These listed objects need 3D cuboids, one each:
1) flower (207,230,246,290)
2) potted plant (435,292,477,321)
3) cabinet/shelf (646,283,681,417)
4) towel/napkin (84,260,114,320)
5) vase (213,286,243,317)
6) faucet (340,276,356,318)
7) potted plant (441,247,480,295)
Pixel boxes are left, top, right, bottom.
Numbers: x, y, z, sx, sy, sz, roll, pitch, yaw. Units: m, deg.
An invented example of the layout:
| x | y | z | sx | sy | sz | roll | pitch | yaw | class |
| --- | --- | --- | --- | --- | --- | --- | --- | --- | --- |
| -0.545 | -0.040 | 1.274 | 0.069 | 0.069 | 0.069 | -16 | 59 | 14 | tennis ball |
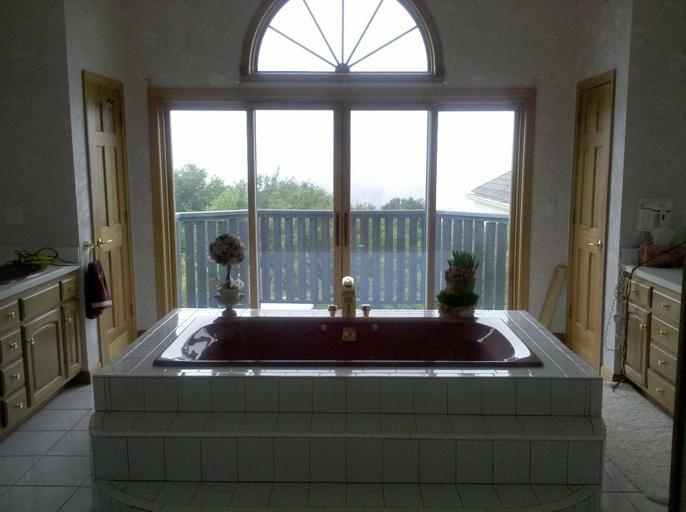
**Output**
| x | y | z | sx | sy | sz | roll | pitch | yaw | class |
| --- | --- | --- | --- | --- | --- | --- | --- | --- | --- |
| -0.753 | 0.033 | 3.726 | 0.239 | 0.327 | 0.219 | 2 | 11 | -35 | flower |
| 0.779 | 0.338 | 3.746 | 0.199 | 0.137 | 0.173 | 1 | 3 | 0 | potted plant |
| 2.171 | 0.624 | 3.757 | 0.099 | 0.810 | 0.319 | 1 | 9 | 6 | cabinet/shelf |
| -1.878 | 0.274 | 4.252 | 0.177 | 0.482 | 0.155 | 2 | 9 | 13 | towel/napkin |
| -0.767 | 0.297 | 3.806 | 0.216 | 0.228 | 0.177 | 0 | 1 | -6 | vase |
| 0.034 | 0.278 | 3.721 | 0.088 | 0.267 | 0.100 | 0 | 9 | 2 | faucet |
| 0.805 | 0.109 | 3.791 | 0.202 | 0.269 | 0.211 | 2 | 9 | 11 | potted plant |
